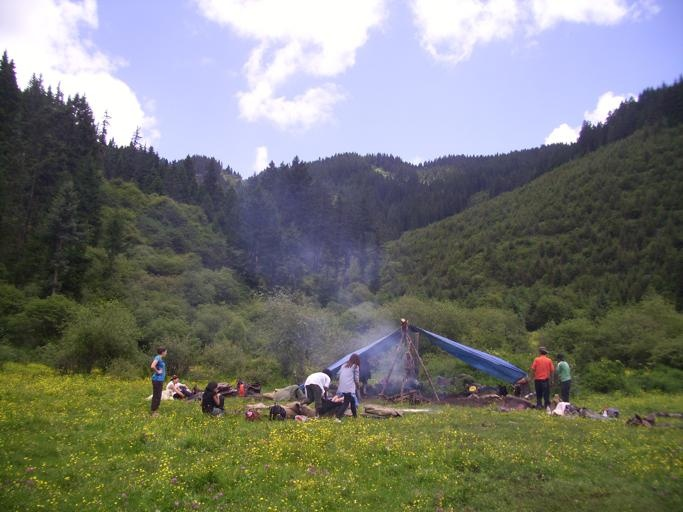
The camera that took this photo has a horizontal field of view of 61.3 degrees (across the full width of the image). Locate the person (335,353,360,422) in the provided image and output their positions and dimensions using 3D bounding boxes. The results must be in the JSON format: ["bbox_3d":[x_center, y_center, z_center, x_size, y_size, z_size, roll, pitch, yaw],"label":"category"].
[{"bbox_3d":[0.284,6.280,28.427,0.960,3.044,1.432,16,18,27],"label":"person"}]

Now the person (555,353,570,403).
[{"bbox_3d":[12.044,6.657,31.581,0.706,2.606,1.506,-6,-16,30],"label":"person"}]

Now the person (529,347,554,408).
[{"bbox_3d":[10.756,6.601,31.143,1.024,3.137,1.510,-3,-15,19],"label":"person"}]

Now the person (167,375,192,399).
[{"bbox_3d":[-9.009,7.251,31.934,1.477,1.284,1.187,16,-20,-40],"label":"person"}]
